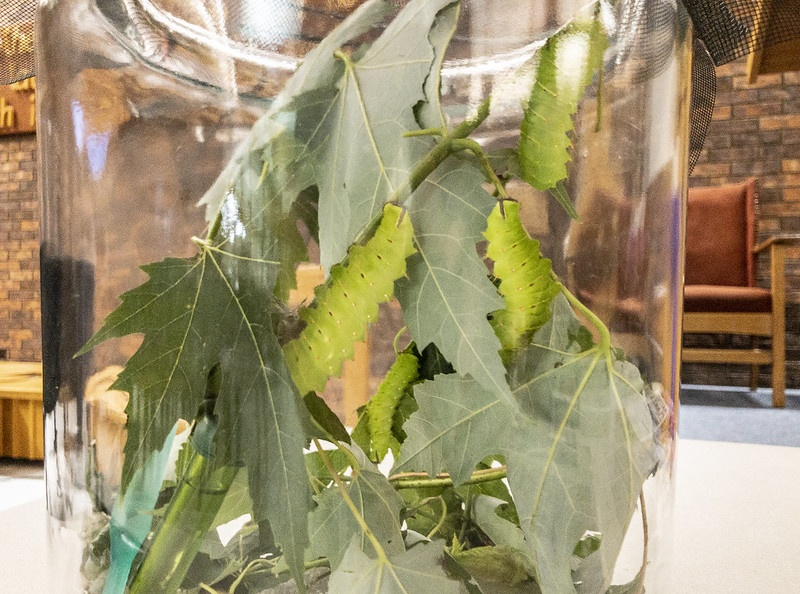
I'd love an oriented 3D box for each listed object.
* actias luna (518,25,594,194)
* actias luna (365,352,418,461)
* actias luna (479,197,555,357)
[{"bbox_3d":[0.206,-0.283,2.191,0.069,0.020,0.213,-22,-37,-3],"label":"actias luna"},{"bbox_3d":[-0.016,0.156,2.207,0.044,0.162,0.060,9,-20,35],"label":"actias luna"},{"bbox_3d":[0.169,-0.020,2.237,0.081,0.247,0.081,4,3,-13],"label":"actias luna"}]
